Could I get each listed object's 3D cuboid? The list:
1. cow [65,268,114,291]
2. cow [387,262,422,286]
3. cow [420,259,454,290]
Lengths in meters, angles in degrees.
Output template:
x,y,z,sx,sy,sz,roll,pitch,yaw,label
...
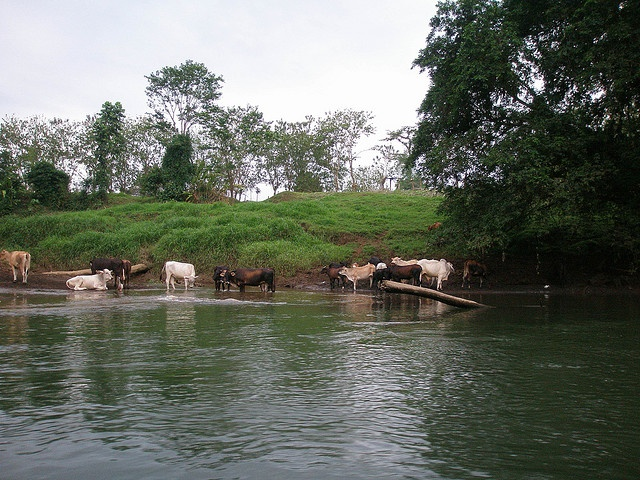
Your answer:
x,y,z,sx,sy,sz,roll,pitch,yaw,label
-11.122,1.932,27.897,2.505,1.040,0.859,0,-1,-25,cow
4.298,1.632,28.254,1.737,0.980,0.901,6,8,40,cow
5.764,1.723,28.820,1.379,1.544,2.184,3,7,20,cow
